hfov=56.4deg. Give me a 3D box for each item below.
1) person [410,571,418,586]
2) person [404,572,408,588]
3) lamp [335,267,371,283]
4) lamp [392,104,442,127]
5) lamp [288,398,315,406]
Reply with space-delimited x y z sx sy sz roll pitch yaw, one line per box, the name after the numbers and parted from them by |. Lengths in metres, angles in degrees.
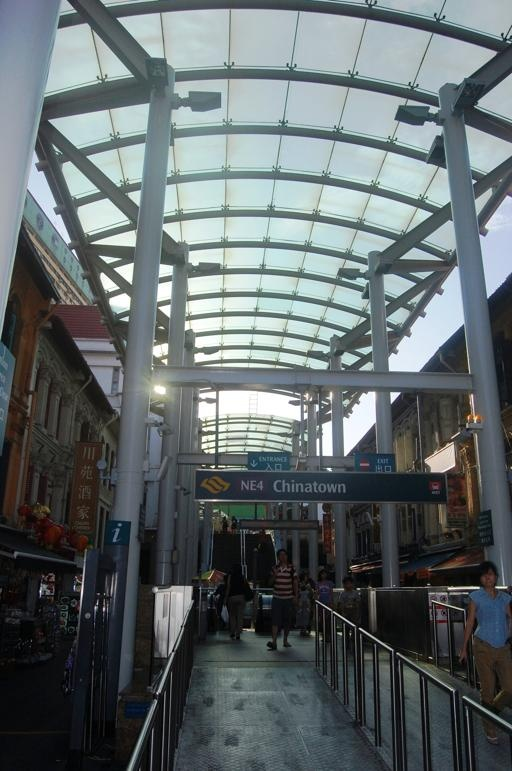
11.118 13.525 33.493 0.406 0.969 2.549 -5 -18 15 | person
11.212 14.352 35.315 0.348 0.830 2.402 -5 -18 14 | person
5.112 -5.899 24.793 1.600 0.582 0.939 2 -8 3 | lamp
5.492 -9.270 16.261 1.512 0.480 0.849 2 -41 7 | lamp
3.738 1.241 37.349 2.014 0.796 2.139 -1 0 2 | lamp
